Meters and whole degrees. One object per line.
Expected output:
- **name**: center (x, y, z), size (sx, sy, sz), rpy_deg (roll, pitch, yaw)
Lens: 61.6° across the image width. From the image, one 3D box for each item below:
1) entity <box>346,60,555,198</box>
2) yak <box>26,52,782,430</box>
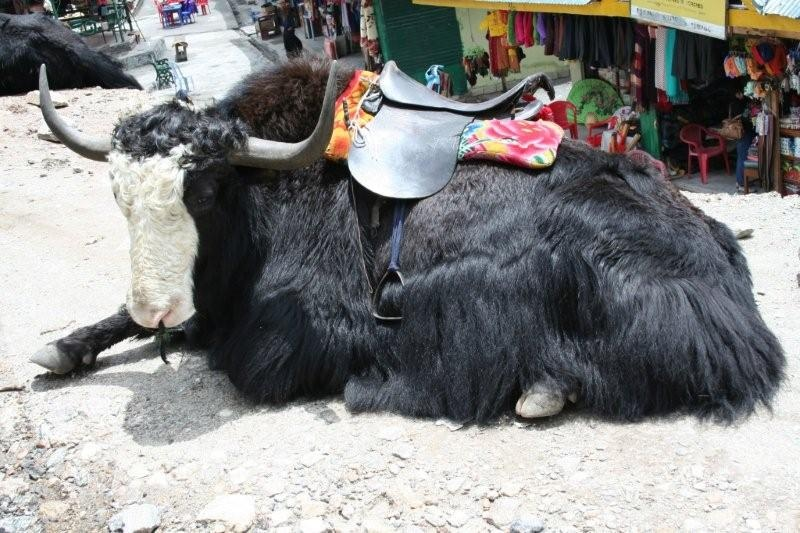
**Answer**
- **entity**: center (0.331, -0.970, 4.088), size (1.276, 0.535, 1.448), rpy_deg (11, 38, 10)
- **yak**: center (-0.029, -0.109, 4.280), size (4.226, 2.092, 1.679), rpy_deg (3, 5, -3)
